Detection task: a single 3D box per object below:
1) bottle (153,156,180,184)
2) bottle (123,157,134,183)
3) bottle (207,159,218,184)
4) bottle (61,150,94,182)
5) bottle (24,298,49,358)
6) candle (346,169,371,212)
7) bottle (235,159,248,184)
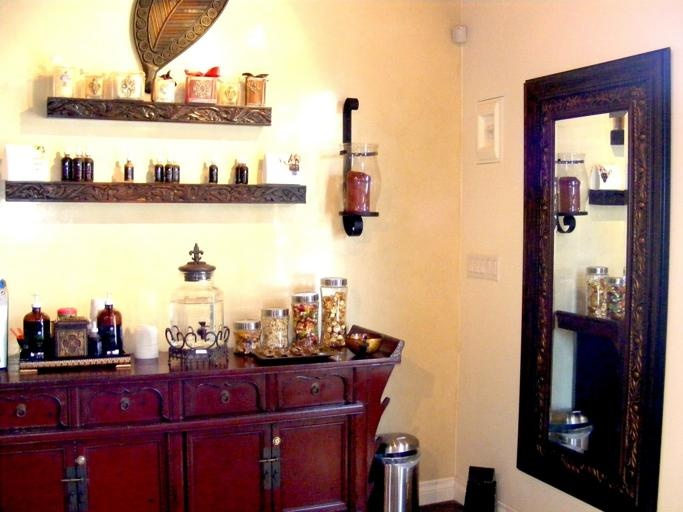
[{"bbox_3d":[-0.960,-0.460,3.527,0.153,0.152,0.054,1,-5,-31],"label":"bottle"},{"bbox_3d":[-1.143,-0.456,3.481,0.041,0.124,0.083,0,2,-15],"label":"bottle"},{"bbox_3d":[-0.719,-0.461,3.604,0.052,0.130,0.107,0,2,-10],"label":"bottle"},{"bbox_3d":[-1.374,-0.449,3.383,0.182,0.189,0.104,-2,4,-21],"label":"bottle"},{"bbox_3d":[-1.541,0.358,3.281,0.129,0.301,0.183,-1,2,-27],"label":"bottle"},{"bbox_3d":[0.090,-0.358,3.735,0.130,0.233,0.063,0,2,0],"label":"candle"},{"bbox_3d":[-0.565,-0.461,3.648,0.083,0.137,0.137,0,2,-10],"label":"bottle"}]
